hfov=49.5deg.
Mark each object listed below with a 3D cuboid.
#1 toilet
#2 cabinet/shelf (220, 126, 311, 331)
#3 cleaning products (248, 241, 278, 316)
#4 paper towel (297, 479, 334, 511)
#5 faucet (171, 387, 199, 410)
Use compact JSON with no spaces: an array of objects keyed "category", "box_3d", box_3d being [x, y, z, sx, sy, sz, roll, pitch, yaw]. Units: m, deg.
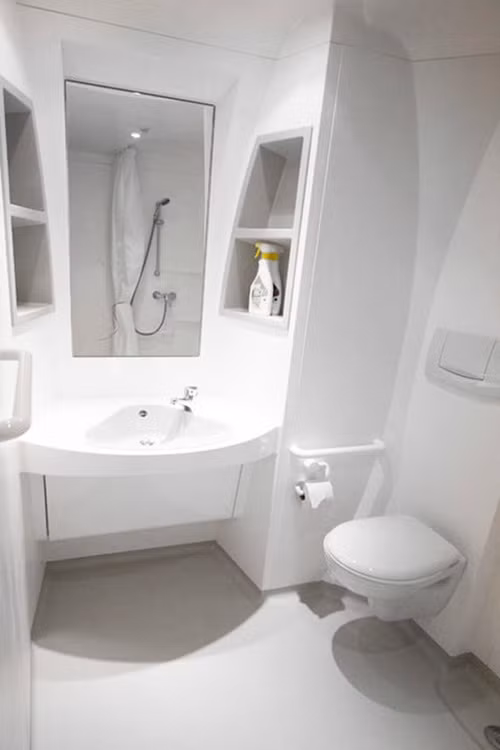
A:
[{"category":"toilet","box_3d":[0.400,0.506,1.541,0.307,0.235,0.287,-7,19,-25]},{"category":"cabinet/shelf","box_3d":[0.072,-0.438,1.683,0.153,0.589,0.362,1,17,-27]},{"category":"cleaning products","box_3d":[0.058,-0.301,1.737,0.109,0.227,0.128,10,15,7]},{"category":"paper towel","box_3d":[0.206,0.355,1.666,0.104,0.082,0.082,1,8,-21]},{"category":"faucet","box_3d":[-0.210,0.076,1.771,0.087,0.099,0.051,-3,8,-28]}]
